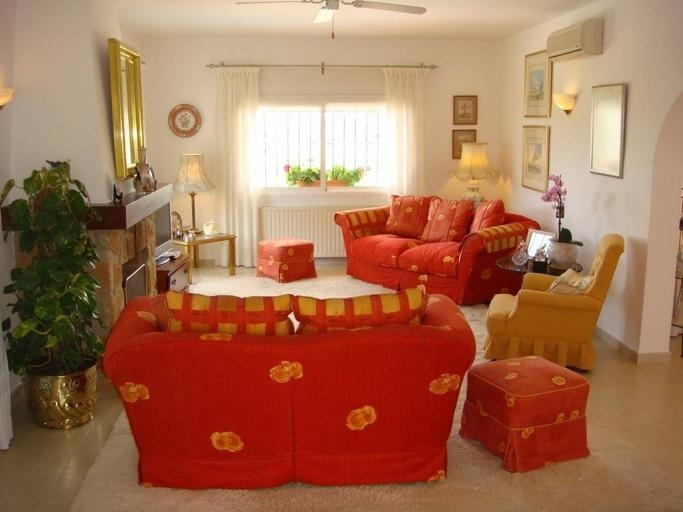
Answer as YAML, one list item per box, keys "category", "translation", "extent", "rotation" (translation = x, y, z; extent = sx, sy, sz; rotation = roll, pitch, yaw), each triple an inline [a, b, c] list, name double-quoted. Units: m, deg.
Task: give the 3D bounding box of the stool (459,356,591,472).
- category: "stool"
  translation: [1.128, 0.915, 3.266]
  extent: [0.617, 0.544, 0.617]
  rotation: [-5, 14, -23]

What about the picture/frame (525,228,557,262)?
- category: "picture/frame"
  translation: [1.999, -0.106, 5.181]
  extent: [0.020, 0.307, 0.301]
  rotation: [10, 8, -21]

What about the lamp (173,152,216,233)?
- category: "lamp"
  translation: [-2.031, -0.879, 7.107]
  extent: [0.501, 1.046, 0.607]
  rotation: [-5, 15, -17]

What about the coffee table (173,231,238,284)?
- category: "coffee table"
  translation: [-1.846, -0.043, 7.004]
  extent: [0.656, 0.496, 0.657]
  rotation: [-7, 16, -31]

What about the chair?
- category: "chair"
  translation: [1.833, 0.342, 4.446]
  extent: [1.104, 1.079, 0.837]
  rotation: [0, 11, 17]

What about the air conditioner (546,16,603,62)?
- category: "air conditioner"
  translation: [2.286, -2.146, 5.107]
  extent: [0.224, 0.365, 0.584]
  rotation: [-9, 14, -9]

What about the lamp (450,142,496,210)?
- category: "lamp"
  translation: [1.802, -1.128, 7.264]
  extent: [0.843, 1.148, 0.822]
  rotation: [1, 9, 10]

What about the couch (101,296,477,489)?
- category: "couch"
  translation: [-0.288, 0.764, 3.106]
  extent: [1.900, 0.906, 0.875]
  rotation: [0, 18, -6]

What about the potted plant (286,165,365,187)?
- category: "potted plant"
  translation: [-0.239, -1.197, 7.598]
  extent: [1.199, 0.289, 0.197]
  rotation: [-1, 15, -5]

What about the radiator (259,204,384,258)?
- category: "radiator"
  translation: [-0.475, -0.359, 7.550]
  extent: [1.455, 0.819, 0.109]
  rotation: [-2, 17, -23]

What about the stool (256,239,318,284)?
- category: "stool"
  translation: [-0.748, 0.037, 6.872]
  extent: [0.685, 0.478, 0.683]
  rotation: [6, 10, 41]

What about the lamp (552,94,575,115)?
- category: "lamp"
  translation: [2.326, -1.607, 5.441]
  extent: [0.199, 0.191, 0.231]
  rotation: [-5, 11, -3]

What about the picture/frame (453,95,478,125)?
- category: "picture/frame"
  translation: [1.761, -2.118, 7.351]
  extent: [0.370, 0.430, 0.017]
  rotation: [0, 6, -7]
